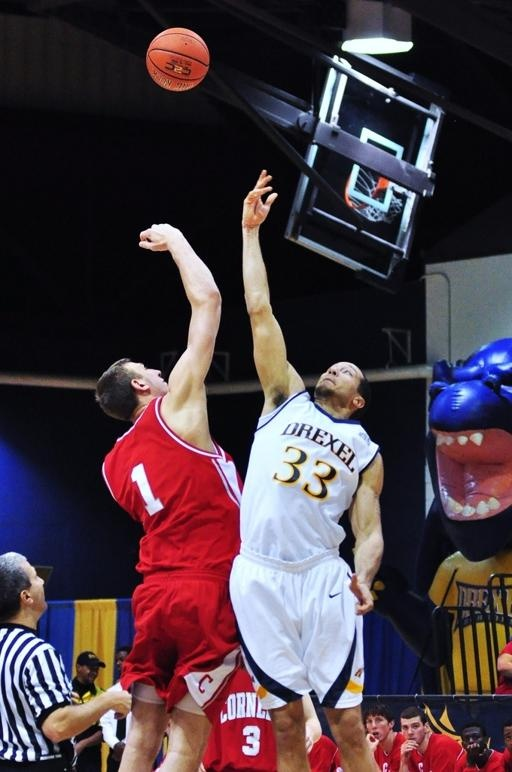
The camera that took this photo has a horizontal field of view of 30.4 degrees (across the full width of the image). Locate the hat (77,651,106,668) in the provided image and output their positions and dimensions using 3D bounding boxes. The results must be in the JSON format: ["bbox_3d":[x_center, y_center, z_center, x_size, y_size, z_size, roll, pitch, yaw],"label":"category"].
[{"bbox_3d":[-1.337,2.172,7.551,0.219,0.122,0.147,-8,-19,28],"label":"hat"}]

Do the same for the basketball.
[{"bbox_3d":[-0.385,-1.628,4.625,0.287,0.356,0.314,5,-7,-8],"label":"basketball"}]
